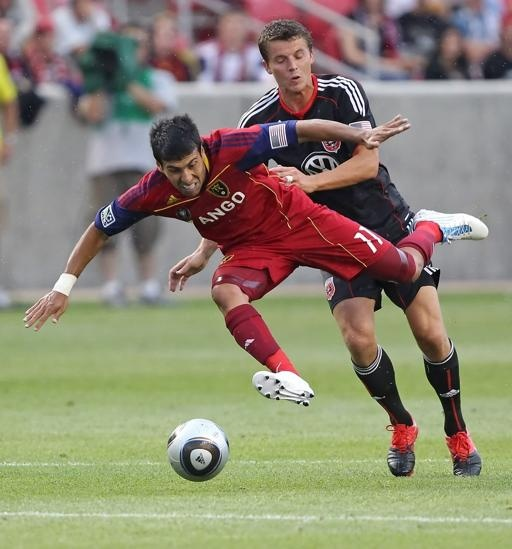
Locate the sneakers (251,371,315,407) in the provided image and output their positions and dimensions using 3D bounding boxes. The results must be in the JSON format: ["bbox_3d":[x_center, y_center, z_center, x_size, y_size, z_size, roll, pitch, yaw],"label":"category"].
[{"bbox_3d":[0.070,0.439,3.190,0.296,0.091,0.124,16,18,16],"label":"sneakers"}]

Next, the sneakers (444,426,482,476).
[{"bbox_3d":[0.943,0.795,3.621,0.095,0.095,0.217,-27,36,12],"label":"sneakers"}]

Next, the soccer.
[{"bbox_3d":[-0.235,0.746,3.395,0.318,0.233,0.272,2,-5,-12],"label":"soccer"}]

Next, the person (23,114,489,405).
[{"bbox_3d":[0.099,-0.051,3.756,2.518,0.925,1.164,3,-23,-22],"label":"person"}]

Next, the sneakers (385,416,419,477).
[{"bbox_3d":[0.686,0.806,3.717,0.107,0.111,0.265,-1,38,14],"label":"sneakers"}]
